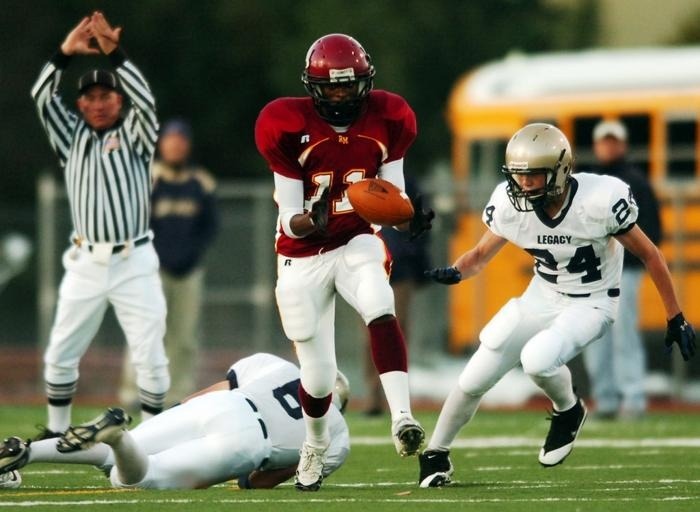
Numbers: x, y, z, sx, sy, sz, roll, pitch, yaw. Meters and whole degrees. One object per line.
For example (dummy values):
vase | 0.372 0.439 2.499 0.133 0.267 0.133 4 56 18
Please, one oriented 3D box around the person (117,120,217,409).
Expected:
person | -1.572 0.230 11.884 0.992 2.940 0.941 -2 2 -27

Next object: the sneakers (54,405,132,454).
sneakers | -1.467 0.983 7.294 0.476 0.175 0.212 -25 26 11

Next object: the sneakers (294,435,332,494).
sneakers | -0.242 1.276 7.910 0.127 0.357 0.164 6 -16 3

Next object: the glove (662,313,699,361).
glove | 2.044 0.492 8.001 0.183 0.308 0.314 -2 3 13

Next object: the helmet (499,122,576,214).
helmet | 1.056 -0.543 8.178 0.441 0.515 0.520 -13 1 44

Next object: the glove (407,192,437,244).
glove | 0.435 -0.213 8.201 0.136 0.367 0.389 18 -2 5

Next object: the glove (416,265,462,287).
glove | 0.651 0.149 9.829 0.325 0.116 0.188 6 -16 -16

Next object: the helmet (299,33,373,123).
helmet | -0.107 -1.094 8.098 0.439 0.457 0.526 -5 35 -4

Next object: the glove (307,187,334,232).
glove | -0.197 -0.274 7.797 0.122 0.252 0.162 -3 3 -7

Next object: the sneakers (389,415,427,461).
sneakers | 0.334 1.080 7.745 0.134 0.119 0.273 -22 -25 -20
